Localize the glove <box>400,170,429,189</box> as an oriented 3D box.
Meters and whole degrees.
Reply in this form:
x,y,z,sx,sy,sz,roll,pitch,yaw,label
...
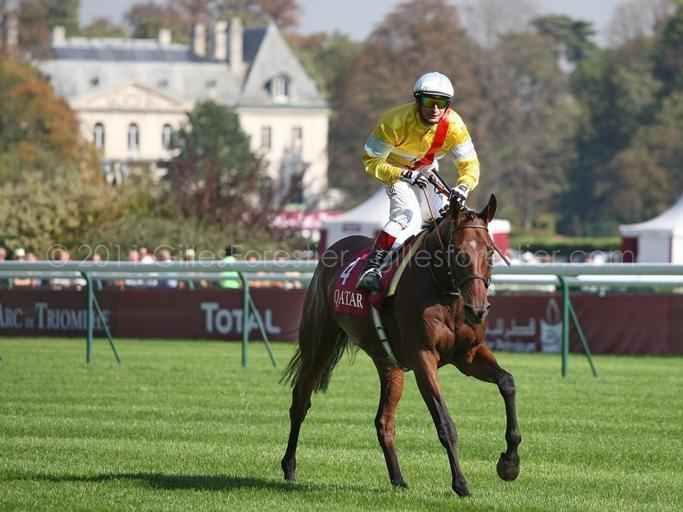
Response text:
x,y,z,sx,sy,sz,roll,pitch,yaw,label
0.918,-0.938,22.159,0.287,0.187,0.117,25,11,16,glove

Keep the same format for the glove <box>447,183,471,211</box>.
x,y,z,sx,sy,sz,roll,pitch,yaw,label
1.454,-0.721,22.020,0.238,0.285,0.409,-3,-1,5,glove

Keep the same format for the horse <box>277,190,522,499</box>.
x,y,z,sx,sy,sz,roll,pitch,yaw,label
0.711,1.239,23.041,1.422,3.757,5.262,-1,-3,-31,horse
